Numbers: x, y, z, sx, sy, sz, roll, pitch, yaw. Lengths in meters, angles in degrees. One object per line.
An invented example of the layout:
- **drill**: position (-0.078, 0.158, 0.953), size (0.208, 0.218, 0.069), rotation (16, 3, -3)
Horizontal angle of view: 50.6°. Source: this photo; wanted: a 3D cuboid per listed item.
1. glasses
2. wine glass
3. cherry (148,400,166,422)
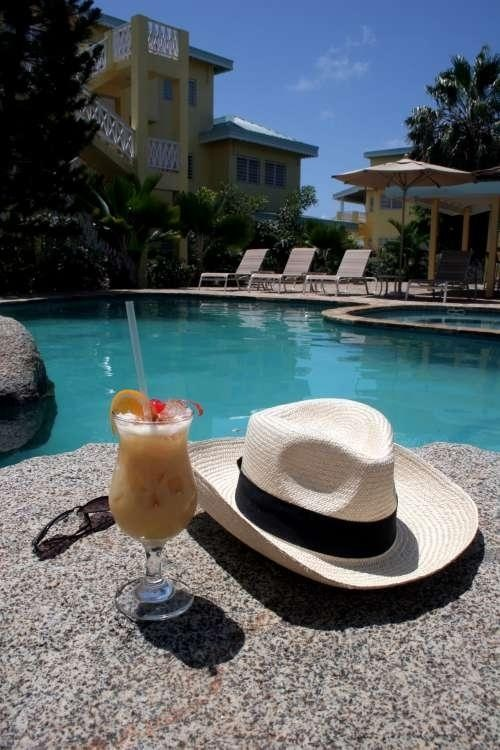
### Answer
- **glasses**: position (-0.584, 0.483, 1.753), size (0.114, 0.040, 0.204), rotation (5, 18, 35)
- **wine glass**: position (-0.230, 0.320, 1.268), size (0.197, 0.560, 0.322), rotation (-1, 8, -11)
- **cherry**: position (-0.198, 0.077, 1.116), size (0.031, 0.023, 0.040), rotation (1, 50, 2)
